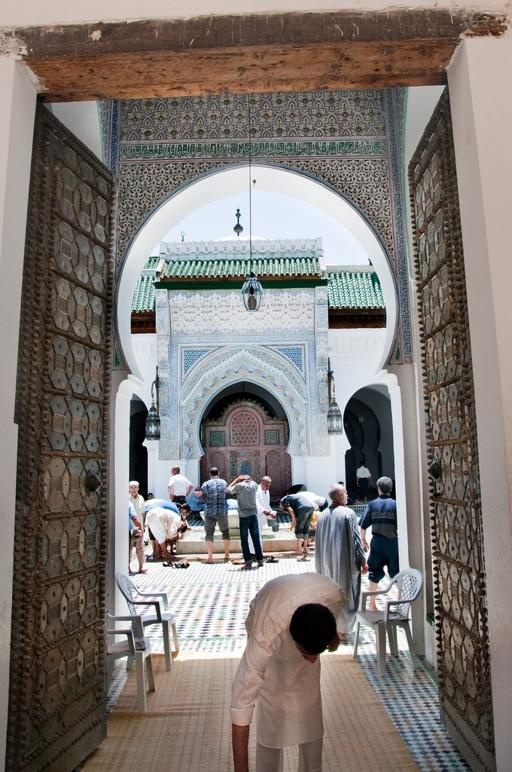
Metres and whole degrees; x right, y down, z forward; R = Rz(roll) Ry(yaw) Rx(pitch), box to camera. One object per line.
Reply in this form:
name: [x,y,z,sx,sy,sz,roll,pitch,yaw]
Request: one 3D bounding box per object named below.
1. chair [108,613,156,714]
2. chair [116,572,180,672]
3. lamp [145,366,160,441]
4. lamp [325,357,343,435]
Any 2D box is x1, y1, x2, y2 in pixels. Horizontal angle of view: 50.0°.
chair: [-0.549,1.145,2.354,0.172,0.285,0.206,-4,-2,-8]
chair: [-0.546,1.181,2.781,0.236,0.410,0.256,-1,-10,-4]
lamp: [-1.466,0.255,7.859,0.199,1.062,0.533,-1,-6,-11]
lamp: [1.118,0.158,7.854,0.212,1.083,0.512,-3,-6,8]
